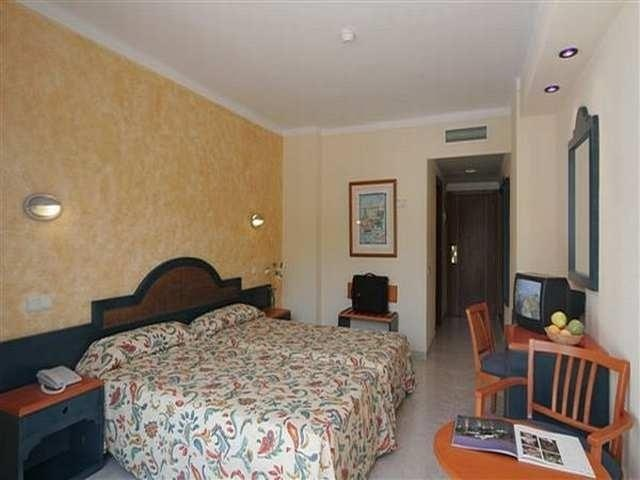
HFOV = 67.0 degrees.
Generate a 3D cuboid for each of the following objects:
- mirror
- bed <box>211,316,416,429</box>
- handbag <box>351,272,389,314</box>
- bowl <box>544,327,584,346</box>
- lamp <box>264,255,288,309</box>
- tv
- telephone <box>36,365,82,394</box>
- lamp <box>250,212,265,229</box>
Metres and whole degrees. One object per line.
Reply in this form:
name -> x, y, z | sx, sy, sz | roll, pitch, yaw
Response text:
mirror -> 2.122, -0.337, 3.875 | 0.154, 1.428, 0.752 | 3, 9, 17
bed -> 0.339, 1.378, 5.080 | 1.201, 0.590, 2.037 | -11, -10, 15
handbag -> 0.641, 0.664, 6.180 | 0.483, 0.522, 0.211 | 2, -1, 6
bowl -> 1.822, 0.680, 3.594 | 0.169, 0.072, 0.175 | 6, -7, 1
lamp -> -0.584, 0.606, 6.294 | 0.212, 0.492, 0.191 | -4, -20, 38
tv -> 1.929, 0.530, 4.059 | 0.490, 0.467, 0.499 | 2, 2, -25
telephone -> -1.970, 1.016, 3.610 | 0.219, 0.071, 0.176 | 8, 7, 29
lamp -> -0.759, -0.239, 5.886 | 0.098, 0.169, 0.161 | -4, 5, 32
